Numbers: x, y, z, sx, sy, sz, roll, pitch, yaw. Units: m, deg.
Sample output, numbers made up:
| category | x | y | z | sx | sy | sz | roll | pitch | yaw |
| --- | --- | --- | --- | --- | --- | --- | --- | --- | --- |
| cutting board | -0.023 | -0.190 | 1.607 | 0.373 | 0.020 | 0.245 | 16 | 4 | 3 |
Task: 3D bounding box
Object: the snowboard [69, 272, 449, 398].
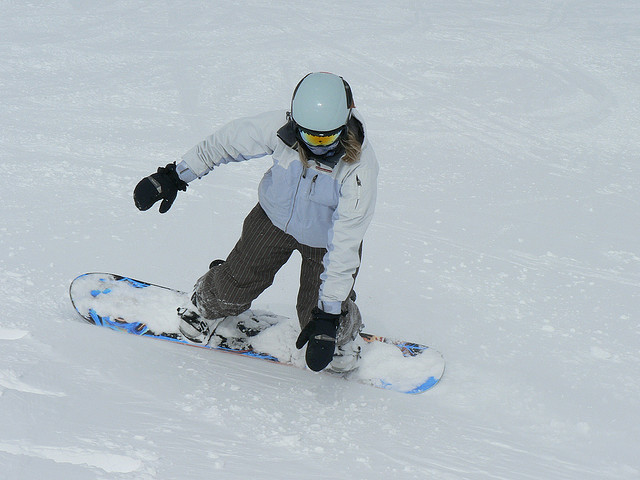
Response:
| category | x | y | z | sx | sy | sz | roll | pitch | yaw |
| --- | --- | --- | --- | --- | --- | --- | --- | --- | --- |
| snowboard | -0.580 | 0.807 | 6.129 | 3.086 | 0.110 | 0.523 | 12 | 37 | 5 |
